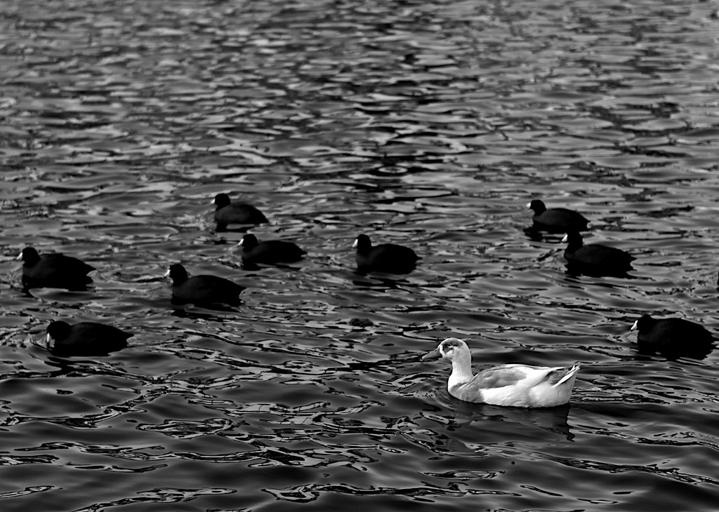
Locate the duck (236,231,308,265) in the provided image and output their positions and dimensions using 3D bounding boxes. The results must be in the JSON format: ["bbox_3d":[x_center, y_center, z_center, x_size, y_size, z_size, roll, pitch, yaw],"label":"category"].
[{"bbox_3d":[-1.959,-0.167,23.906,1.438,0.399,0.620,-2,-1,-18],"label":"duck"}]

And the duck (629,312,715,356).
[{"bbox_3d":[5.835,1.489,20.082,1.546,0.638,0.655,5,6,10],"label":"duck"}]

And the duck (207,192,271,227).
[{"bbox_3d":[-3.010,-1.106,26.495,1.317,0.808,1.442,1,7,-38],"label":"duck"}]
